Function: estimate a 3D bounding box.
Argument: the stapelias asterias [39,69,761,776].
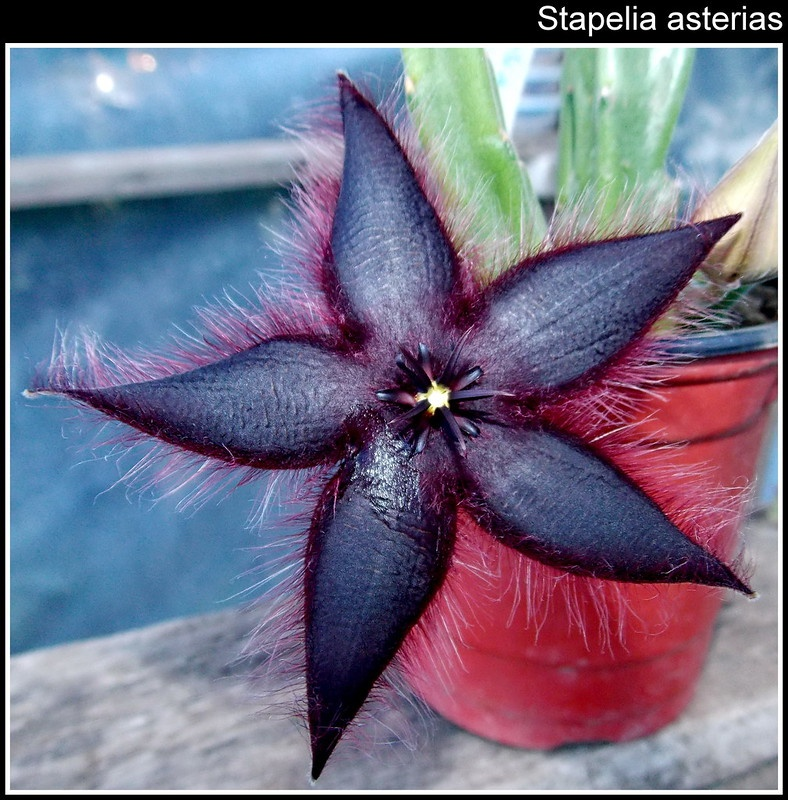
[{"bbox_3d":[0.013,0.011,0.714,0.493,0.444,0.269,-14,27,-15],"label":"stapelias asterias"}]

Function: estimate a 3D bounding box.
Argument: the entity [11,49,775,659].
[{"bbox_3d":[0.003,-0.034,0.907,0.659,0.685,0.269,0,-12,-3],"label":"entity"}]
